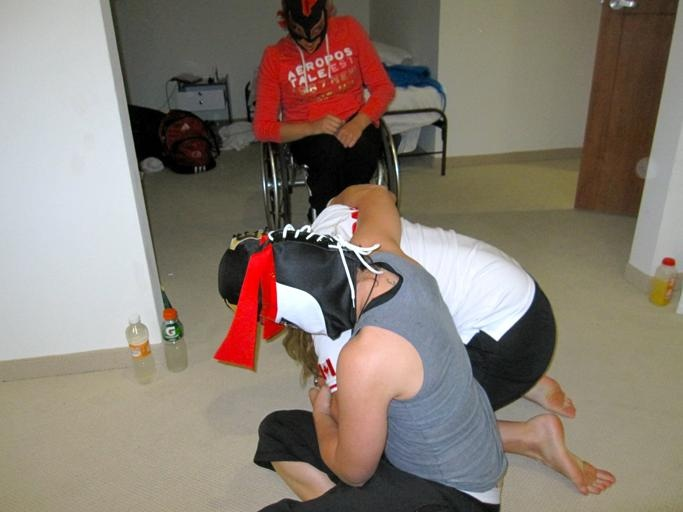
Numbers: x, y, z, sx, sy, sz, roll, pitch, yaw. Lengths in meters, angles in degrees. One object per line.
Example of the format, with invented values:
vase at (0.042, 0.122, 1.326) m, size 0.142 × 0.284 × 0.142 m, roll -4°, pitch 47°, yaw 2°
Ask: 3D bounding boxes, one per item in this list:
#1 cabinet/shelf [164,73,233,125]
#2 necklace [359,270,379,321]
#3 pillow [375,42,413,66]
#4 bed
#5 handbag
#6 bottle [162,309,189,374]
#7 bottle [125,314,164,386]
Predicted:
cabinet/shelf at (-1.388, -1.617, 5.263) m, size 0.462 × 0.480 × 0.491 m, roll -5°, pitch 33°, yaw -5°
necklace at (0.063, 0.092, 1.155) m, size 0.021 × 0.088 × 0.065 m, roll 17°, pitch -6°, yaw -4°
pillow at (0.426, -1.653, 4.201) m, size 0.295 × 0.082 × 0.333 m, roll 2°, pitch 37°, yaw -24°
bed at (0.474, -1.178, 4.046) m, size 0.540 × 0.824 × 0.909 m, roll -6°, pitch 42°, yaw -5°
handbag at (-1.292, -0.971, 4.225) m, size 0.401 × 0.505 × 0.485 m, roll -7°, pitch 27°, yaw -3°
bottle at (-0.686, 0.313, 2.084) m, size 0.091 × 0.266 × 0.177 m, roll -8°, pitch 19°, yaw -19°
bottle at (-0.789, 0.357, 2.010) m, size 0.094 × 0.258 × 0.135 m, roll -11°, pitch 20°, yaw -25°
